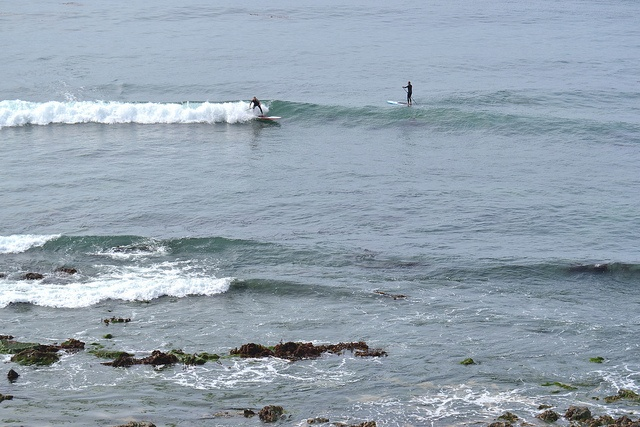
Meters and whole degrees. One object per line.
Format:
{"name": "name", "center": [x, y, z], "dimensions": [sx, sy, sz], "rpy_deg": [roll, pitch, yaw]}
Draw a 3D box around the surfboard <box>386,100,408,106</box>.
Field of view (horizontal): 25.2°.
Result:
{"name": "surfboard", "center": [6.969, -9.657, 126.870], "dimensions": [2.348, 0.172, 0.532], "rpy_deg": [6, -4, 29]}
